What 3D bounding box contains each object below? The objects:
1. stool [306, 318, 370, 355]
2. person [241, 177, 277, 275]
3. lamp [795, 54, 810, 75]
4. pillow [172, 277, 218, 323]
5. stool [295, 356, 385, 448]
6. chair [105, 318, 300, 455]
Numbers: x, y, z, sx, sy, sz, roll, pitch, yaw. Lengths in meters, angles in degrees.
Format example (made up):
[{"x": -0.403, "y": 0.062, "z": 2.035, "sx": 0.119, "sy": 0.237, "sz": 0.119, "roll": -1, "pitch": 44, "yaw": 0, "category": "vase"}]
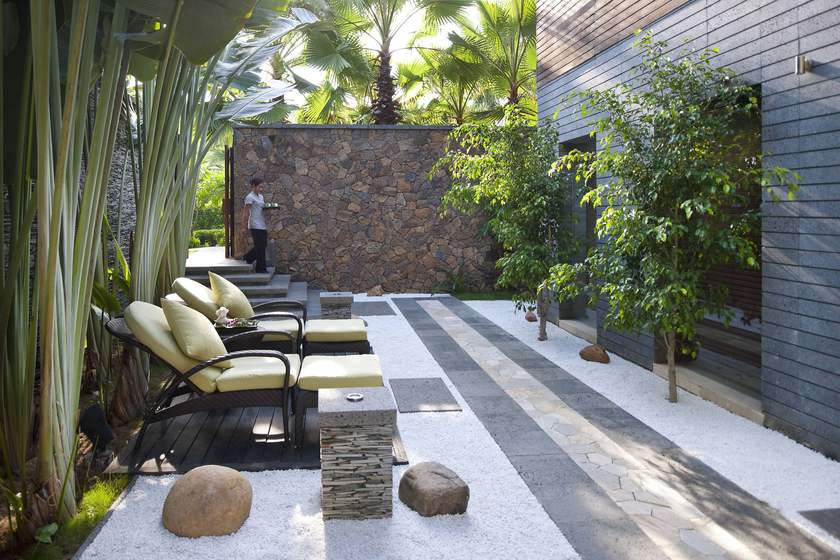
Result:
[{"x": -0.992, "y": 0.735, "z": 6.369, "sx": 0.734, "sy": 0.399, "sz": 0.616, "roll": -2, "pitch": 11, "yaw": -12, "category": "stool"}, {"x": -3.334, "y": -1.079, "z": 10.896, "sx": 0.438, "sy": 1.901, "sz": 0.989, "roll": -4, "pitch": 12, "yaw": -17, "category": "person"}, {"x": 3.465, "y": -1.959, "z": 4.890, "sx": 0.051, "sy": 0.173, "sz": 0.147, "roll": -1, "pitch": 12, "yaw": -6, "category": "lamp"}, {"x": -2.536, "y": 0.143, "z": 6.118, "sx": 0.564, "sy": 0.116, "sz": 0.524, "roll": 35, "pitch": 19, "yaw": -43, "category": "pillow"}, {"x": -0.722, "y": 1.066, "z": 4.808, "sx": 0.751, "sy": 0.601, "sz": 0.755, "roll": -1, "pitch": 11, "yaw": -7, "category": "stool"}, {"x": -1.806, "y": 0.741, "z": 4.659, "sx": 1.629, "sy": 1.215, "sz": 0.998, "roll": 0, "pitch": 5, "yaw": -9, "category": "chair"}]
